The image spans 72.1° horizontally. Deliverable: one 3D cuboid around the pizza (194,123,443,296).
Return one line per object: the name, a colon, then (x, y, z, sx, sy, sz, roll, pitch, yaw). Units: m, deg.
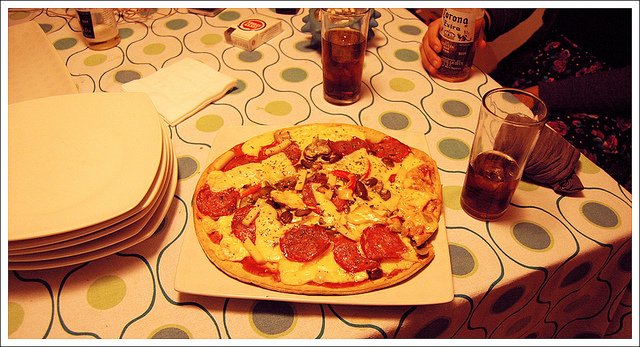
pizza: (-0.003, 0.102, 1.567, 0.867, 0.244, 0.618, 3, 46, -2)
